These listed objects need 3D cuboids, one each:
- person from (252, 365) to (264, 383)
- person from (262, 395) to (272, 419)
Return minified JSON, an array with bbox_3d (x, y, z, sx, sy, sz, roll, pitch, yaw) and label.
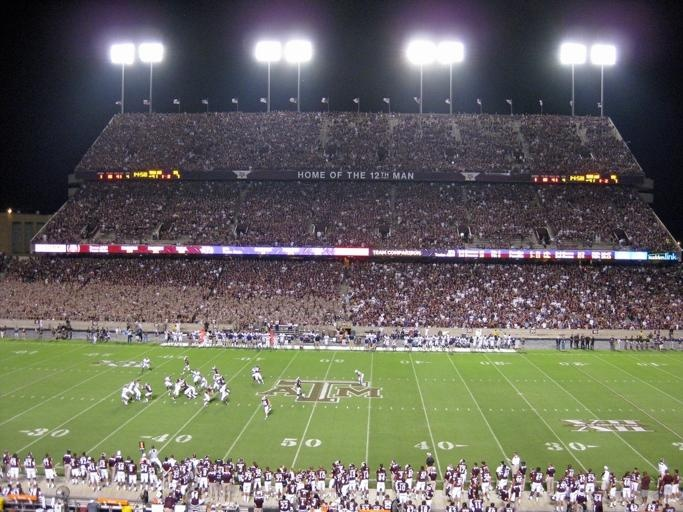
[{"bbox_3d":[-5.065,7.117,43.676,0.584,1.012,0.291,2,-32,-17],"label":"person"},{"bbox_3d":[-4.020,8.171,39.637,0.435,1.061,1.318,0,-3,-6],"label":"person"}]
